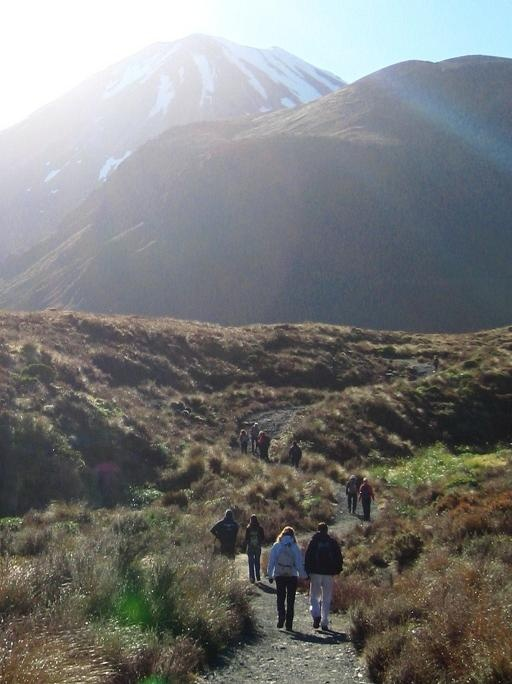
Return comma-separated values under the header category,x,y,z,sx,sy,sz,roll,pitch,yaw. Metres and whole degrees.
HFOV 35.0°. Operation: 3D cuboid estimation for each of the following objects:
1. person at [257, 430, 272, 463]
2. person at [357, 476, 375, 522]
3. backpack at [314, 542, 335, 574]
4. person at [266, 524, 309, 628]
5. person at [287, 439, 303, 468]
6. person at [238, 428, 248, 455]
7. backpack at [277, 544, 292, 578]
category,x,y,z,sx,sy,sz,roll,pitch,yaw
person,0.244,3.638,28.583,0.492,0.851,1.786,11,6,0
person,2.951,4.265,22.023,0.439,0.983,1.587,11,6,9
backpack,1.191,3.770,14.170,0.289,0.612,0.297,2,-33,3
person,0.509,4.140,14.341,0.600,1.460,0.880,9,6,-16
person,1.296,3.780,27.235,0.427,0.724,0.742,12,6,5
person,-0.460,3.537,28.703,0.326,0.649,0.837,11,6,0
backpack,0.499,3.805,14.157,0.360,0.675,0.353,0,-23,5
